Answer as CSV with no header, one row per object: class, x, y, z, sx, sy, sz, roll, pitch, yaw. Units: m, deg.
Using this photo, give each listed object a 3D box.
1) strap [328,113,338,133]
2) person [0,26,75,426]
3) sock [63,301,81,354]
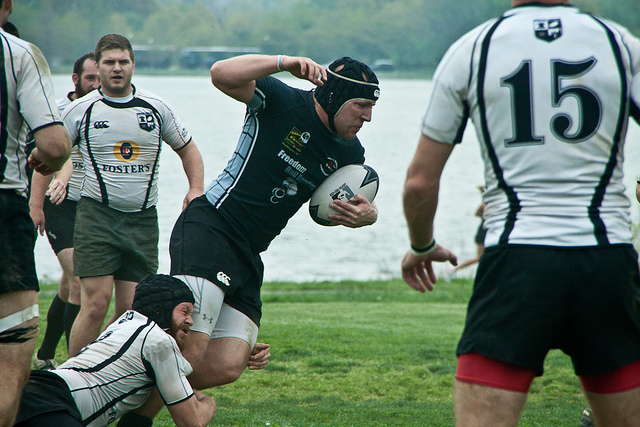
strap,0.106,-0.757,9.970,0.066,0.165,0.096,5,9,15
person,-2.166,0.101,8.921,0.520,2.887,0.572,1,9,-10
sock,-2.361,1.043,11.284,0.157,0.388,0.453,1,9,-12
